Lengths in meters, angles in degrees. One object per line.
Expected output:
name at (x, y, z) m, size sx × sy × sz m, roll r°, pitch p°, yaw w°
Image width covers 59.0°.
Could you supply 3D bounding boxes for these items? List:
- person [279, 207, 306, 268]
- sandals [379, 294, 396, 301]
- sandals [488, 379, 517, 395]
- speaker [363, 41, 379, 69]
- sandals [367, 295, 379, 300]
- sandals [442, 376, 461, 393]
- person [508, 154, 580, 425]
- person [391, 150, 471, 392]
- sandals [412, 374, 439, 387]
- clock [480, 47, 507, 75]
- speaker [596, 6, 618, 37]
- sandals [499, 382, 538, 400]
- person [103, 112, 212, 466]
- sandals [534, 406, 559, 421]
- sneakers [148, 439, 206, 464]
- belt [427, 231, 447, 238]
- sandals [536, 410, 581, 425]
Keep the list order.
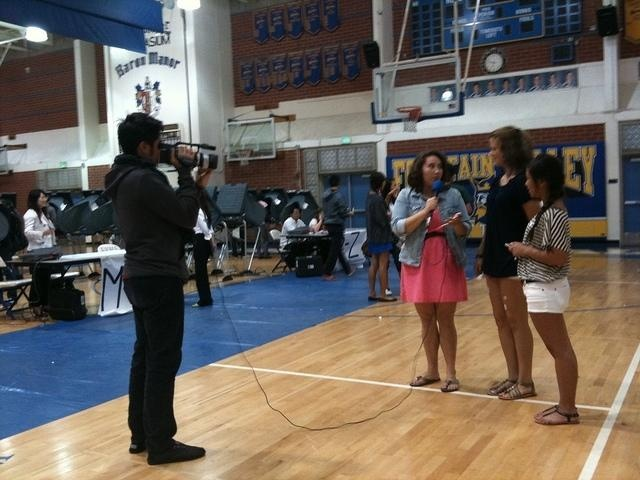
person at (-0.510, -0.053, 11.541) m, size 0.486 × 1.242 × 0.588 m, roll -6°, pitch 4°, yaw -22°
sandals at (0.947, 0.813, 8.019) m, size 0.227 × 0.097 × 0.084 m, roll -2°, pitch -2°, yaw -3°
sandals at (1.437, 1.166, 4.494) m, size 0.192 × 0.074 × 0.109 m, roll -15°, pitch 1°, yaw 6°
speaker at (1.364, -4.915, 15.010) m, size 0.417 × 0.736 × 0.704 m, roll -3°, pitch 6°, yaw 7°
sandals at (0.753, 0.831, 8.089) m, size 0.150 × 0.064 × 0.052 m, roll 0°, pitch -4°, yaw -8°
sandals at (1.066, 1.183, 4.615) m, size 0.098 × 0.067 × 0.218 m, roll -1°, pitch -5°, yaw 12°
person at (1.553, 0.350, 3.953) m, size 0.437 × 1.886 × 0.297 m, roll 0°, pitch 7°, yaw 26°
person at (0.919, 0.251, 4.652) m, size 0.609 × 1.946 × 0.360 m, roll -2°, pitch 7°, yaw 15°
sandals at (0.870, 1.173, 4.723) m, size 0.220 × 0.092 × 0.090 m, roll 3°, pitch -7°, yaw -5°
clock at (4.328, -4.489, 14.202) m, size 0.528 × 0.606 × 0.102 m, roll -1°, pitch 7°, yaw 21°
speaker at (6.510, -5.005, 12.894) m, size 0.456 × 0.654 × 0.374 m, roll -1°, pitch 7°, yaw 24°
sandals at (1.536, 1.182, 4.434) m, size 0.232 × 0.090 × 0.122 m, roll 0°, pitch -5°, yaw -4°
person at (-1.041, 0.309, 3.776) m, size 0.630 × 2.297 × 0.439 m, roll -6°, pitch 7°, yaw -22°
sandals at (1.596, 1.252, 4.033) m, size 0.168 × 0.043 × 0.073 m, roll -25°, pitch 13°, yaw 19°
sneakers at (-0.947, 1.406, 3.787) m, size 0.364 × 0.143 × 0.136 m, roll 0°, pitch -6°, yaw -21°
belt at (0.926, -0.047, 4.557) m, size 0.148 × 0.049 × 0.010 m, roll -3°, pitch 7°, yaw 9°
sandals at (1.652, 1.252, 3.959) m, size 0.221 × 0.087 × 0.131 m, roll 1°, pitch -1°, yaw 15°
